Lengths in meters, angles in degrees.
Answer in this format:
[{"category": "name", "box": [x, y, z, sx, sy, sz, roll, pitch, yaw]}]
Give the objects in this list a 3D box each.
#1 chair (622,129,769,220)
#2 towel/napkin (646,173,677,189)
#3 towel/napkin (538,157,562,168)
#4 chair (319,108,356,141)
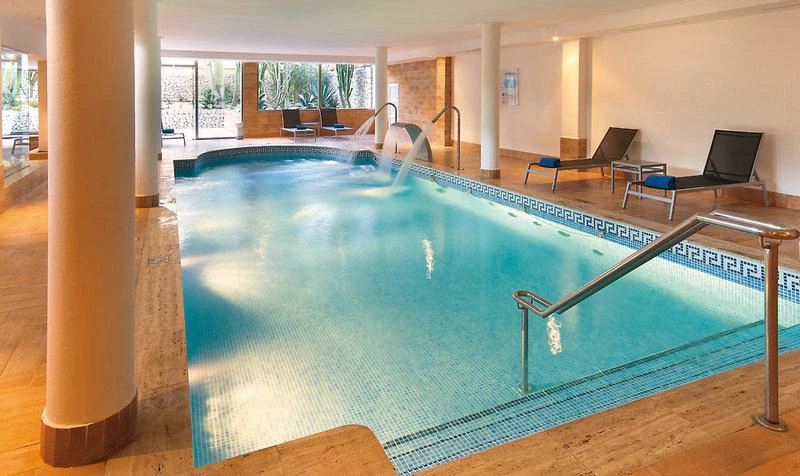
[{"category": "chair", "box": [5.059, -1.114, 7.698, 2.178, 1.053, 0.993, -10, 17, -13]}, {"category": "towel/napkin", "box": [4.096, -0.852, 6.959, 0.340, 0.124, 0.313, -1, 6, -17]}, {"category": "towel/napkin", "box": [3.094, -1.499, 9.001, 0.371, 0.128, 0.363, 13, 21, 40]}, {"category": "chair", "box": [-2.591, -4.699, 18.535, 1.134, 0.926, 1.523, -9, 22, -29]}]
